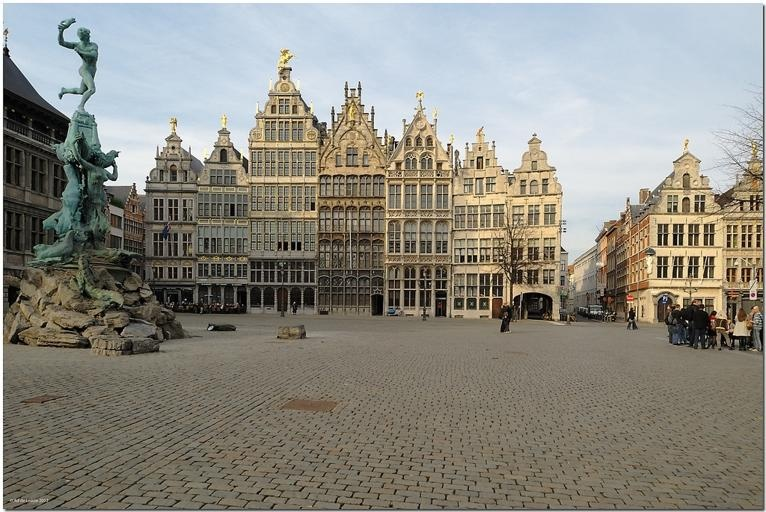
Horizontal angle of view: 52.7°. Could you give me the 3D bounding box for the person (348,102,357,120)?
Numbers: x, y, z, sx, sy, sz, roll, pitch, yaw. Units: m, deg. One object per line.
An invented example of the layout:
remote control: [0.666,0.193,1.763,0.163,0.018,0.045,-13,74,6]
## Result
person: [-2.746,-13.510,72.036,0.776,1.638,0.545,1,6,-2]
